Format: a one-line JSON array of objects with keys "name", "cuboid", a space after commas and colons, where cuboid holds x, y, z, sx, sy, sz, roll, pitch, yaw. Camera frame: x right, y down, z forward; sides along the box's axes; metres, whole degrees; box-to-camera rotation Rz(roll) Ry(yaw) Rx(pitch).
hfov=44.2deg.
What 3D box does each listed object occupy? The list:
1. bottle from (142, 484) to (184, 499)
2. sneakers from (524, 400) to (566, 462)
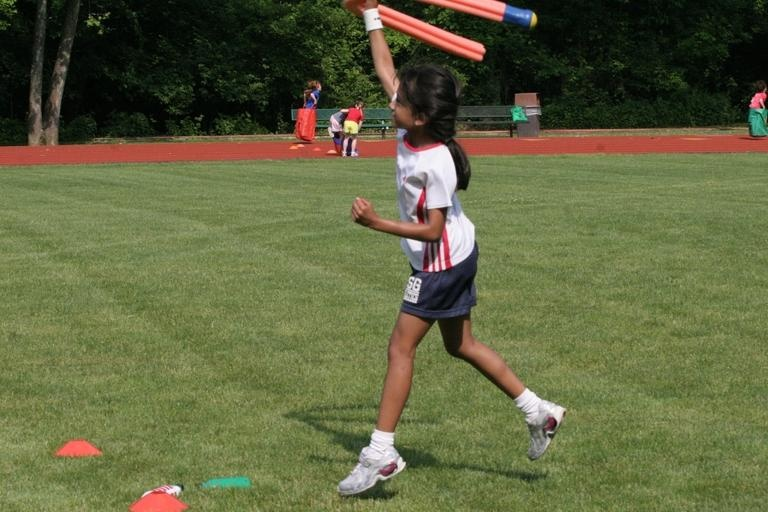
[{"name": "bottle", "cuboid": [-1.510, 1.605, 6.525, 0.175, 0.052, 0.106, 2, 11, 33]}, {"name": "sneakers", "cuboid": [1.125, 1.239, 6.772, 0.244, 0.505, 0.186, 15, 36, -1]}]
